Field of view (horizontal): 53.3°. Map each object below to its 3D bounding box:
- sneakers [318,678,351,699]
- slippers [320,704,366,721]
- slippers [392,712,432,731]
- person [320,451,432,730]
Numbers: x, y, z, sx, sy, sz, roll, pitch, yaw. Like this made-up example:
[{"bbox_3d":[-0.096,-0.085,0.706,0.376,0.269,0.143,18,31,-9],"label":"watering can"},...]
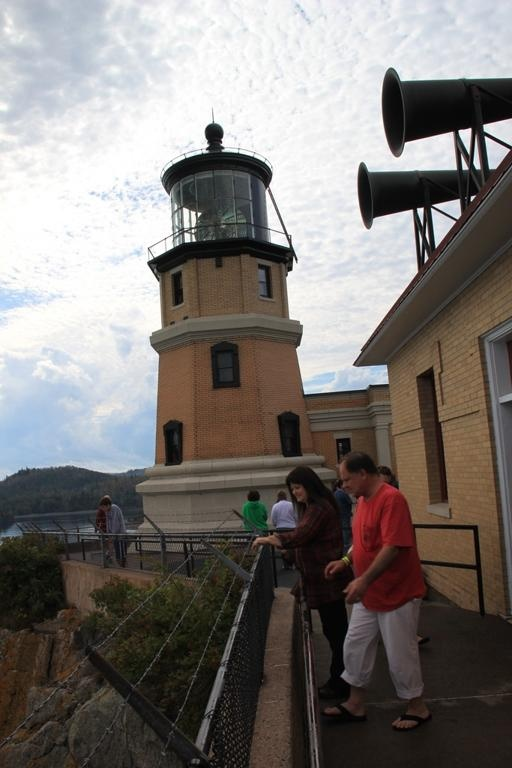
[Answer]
[{"bbox_3d":[0.567,2.288,3.821,0.279,0.128,0.102,3,-12,-4],"label":"sneakers"},{"bbox_3d":[0.572,2.180,3.407,0.303,0.114,0.120,5,-16,-2],"label":"slippers"},{"bbox_3d":[0.990,2.121,3.241,0.217,0.063,0.103,9,-18,-26],"label":"slippers"},{"bbox_3d":[0.744,1.290,3.230,0.577,1.671,0.608,4,-10,-31],"label":"person"}]
